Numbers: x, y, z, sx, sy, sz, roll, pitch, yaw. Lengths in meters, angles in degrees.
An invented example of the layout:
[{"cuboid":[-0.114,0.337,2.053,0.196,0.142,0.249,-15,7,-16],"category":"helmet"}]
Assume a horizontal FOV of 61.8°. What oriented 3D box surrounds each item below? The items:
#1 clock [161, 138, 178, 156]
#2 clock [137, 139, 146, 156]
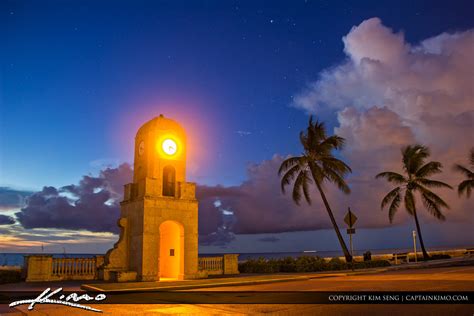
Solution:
[{"cuboid":[-5.363,-0.818,31.198,1.379,1.494,0.202,4,-9,-42],"category":"clock"},{"cuboid":[-7.679,-0.723,31.723,0.244,1.050,1.062,1,-7,-37],"category":"clock"}]
